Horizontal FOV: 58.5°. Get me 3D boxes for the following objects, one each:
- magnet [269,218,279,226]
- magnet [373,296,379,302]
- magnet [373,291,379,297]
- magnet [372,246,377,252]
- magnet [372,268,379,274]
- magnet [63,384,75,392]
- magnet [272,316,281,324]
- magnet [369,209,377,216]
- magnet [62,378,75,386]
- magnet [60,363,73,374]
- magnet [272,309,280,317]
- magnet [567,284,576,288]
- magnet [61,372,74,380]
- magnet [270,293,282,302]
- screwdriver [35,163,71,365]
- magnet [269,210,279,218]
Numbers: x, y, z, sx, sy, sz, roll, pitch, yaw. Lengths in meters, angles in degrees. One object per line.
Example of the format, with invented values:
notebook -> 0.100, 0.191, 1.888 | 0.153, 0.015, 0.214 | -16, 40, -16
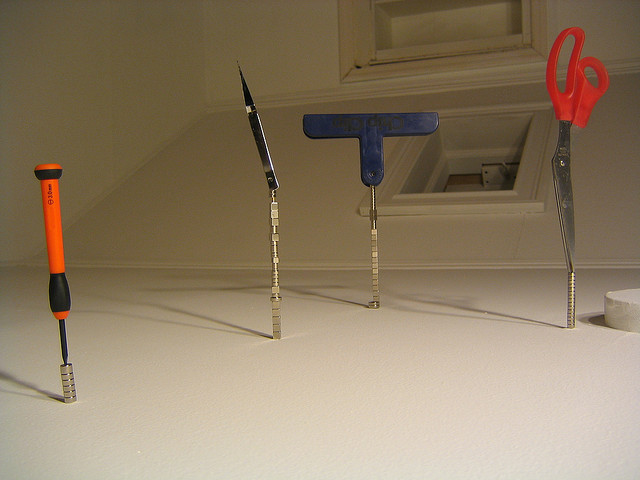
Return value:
magnet -> -0.180, -0.076, 2.218 | 0.037, 0.029, 0.041 | 2, -81, 6
magnet -> 0.257, 0.262, 2.584 | 0.020, 0.020, 0.022 | 0, -66, 2
magnet -> 0.258, 0.239, 2.610 | 0.021, 0.023, 0.027 | -2, -73, 0
magnet -> 0.250, 0.038, 2.617 | 0.023, 0.019, 0.026 | 3, -71, 7
magnet -> 0.252, 0.139, 2.603 | 0.028, 0.031, 0.021 | 0, -14, 3
magnet -> -0.782, 0.454, 1.772 | 0.021, 0.018, 0.023 | 3, 5, 24
magnet -> -0.168, 0.303, 2.191 | 0.035, 0.038, 0.011 | 1, 1, -2
magnet -> 0.246, -0.127, 2.627 | 0.025, 0.031, 0.025 | -6, 8, -39
magnet -> -0.781, 0.438, 1.769 | 0.020, 0.021, 0.021 | 1, -1, -14
magnet -> -0.782, 0.392, 1.758 | 0.023, 0.025, 0.033 | 0, -2, 8
magnet -> -0.168, 0.274, 2.181 | 0.024, 0.026, 0.026 | 0, -80, 10
magnet -> 0.993, 0.177, 2.248 | 0.029, 0.025, 0.031 | 0, -3, -1
magnet -> -0.781, 0.418, 1.765 | 0.023, 0.019, 0.024 | 0, 1, 12
magnet -> -0.175, 0.217, 2.214 | 0.033, 0.027, 0.036 | -1, 3, 4
screwdriver -> -0.817, 0.114, 1.774 | 0.074, 0.091, 0.682 | 3, -79, 25
magnet -> -0.181, -0.100, 2.219 | 0.036, 0.042, 0.039 | -1, 1, 0
